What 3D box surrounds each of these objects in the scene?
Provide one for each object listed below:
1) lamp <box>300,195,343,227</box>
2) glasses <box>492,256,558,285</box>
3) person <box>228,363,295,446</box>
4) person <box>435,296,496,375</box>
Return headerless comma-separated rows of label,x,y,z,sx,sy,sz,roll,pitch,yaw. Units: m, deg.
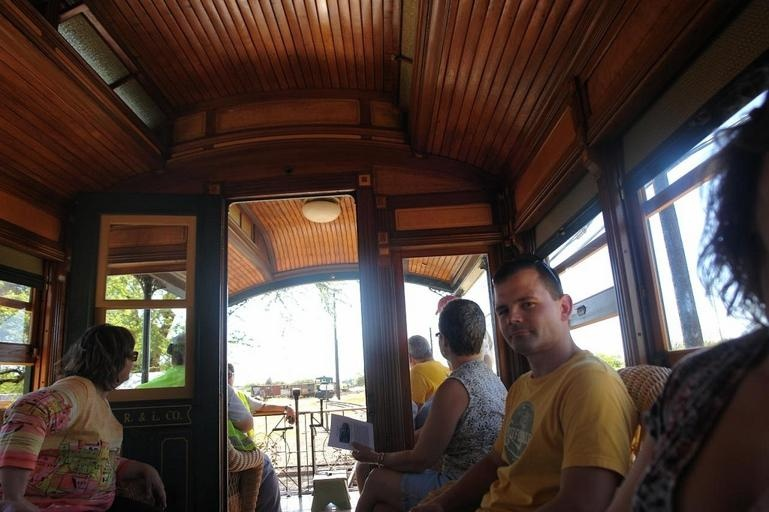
lamp,-0.704,-0.545,5.303,0.373,0.210,0.315,-4,-16,5
glasses,0.651,0.048,2.101,0.177,0.057,0.180,-16,-49,26
person,-1.519,1.687,5.578,1.055,0.504,0.655,25,-21,-28
person,0.895,0.782,4.768,0.655,0.606,1.203,7,-21,-5
